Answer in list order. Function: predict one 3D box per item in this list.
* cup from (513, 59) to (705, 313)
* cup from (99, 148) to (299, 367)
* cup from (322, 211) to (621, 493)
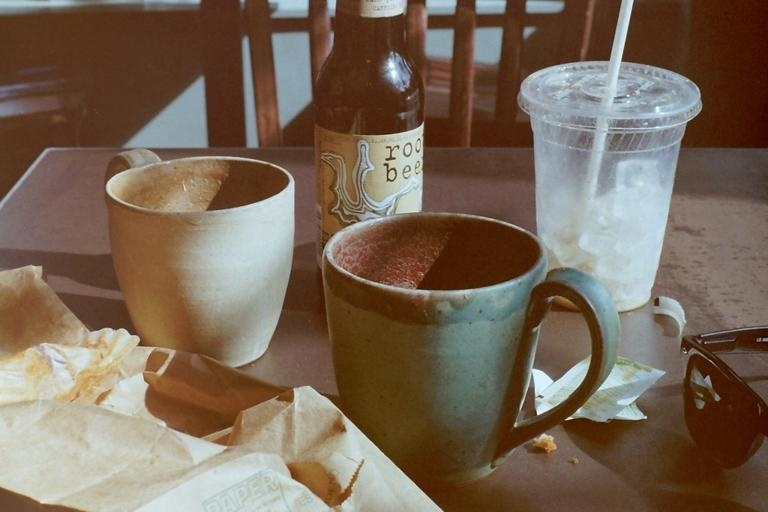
[{"bbox_3d":[0.246,-0.070,0.791,0.207,0.247,0.198,-3,24,1],"label":"cup"},{"bbox_3d":[-0.192,-0.012,0.694,0.165,0.167,0.240,-10,28,-28],"label":"cup"},{"bbox_3d":[0.083,0.047,0.605,0.259,0.194,0.207,7,16,26],"label":"cup"}]
